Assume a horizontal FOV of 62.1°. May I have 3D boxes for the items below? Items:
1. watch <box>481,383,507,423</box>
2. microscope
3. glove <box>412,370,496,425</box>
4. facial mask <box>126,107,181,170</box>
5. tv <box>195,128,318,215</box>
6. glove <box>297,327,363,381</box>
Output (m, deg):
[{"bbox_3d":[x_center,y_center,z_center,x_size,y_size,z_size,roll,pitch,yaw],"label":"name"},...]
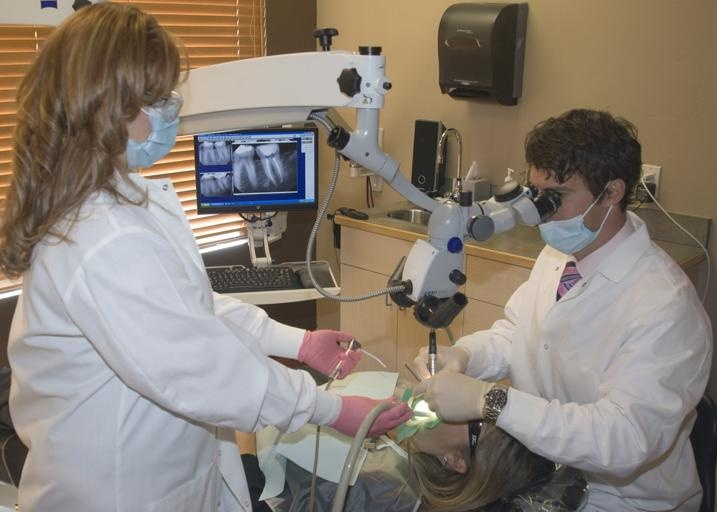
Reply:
[{"bbox_3d":[0.387,0.420,1.690,0.070,0.106,0.032,9,-22,36],"label":"watch"},{"bbox_3d":[0.185,-0.150,1.719,0.741,0.902,0.345,3,-5,-5],"label":"microscope"},{"bbox_3d":[0.288,0.414,1.721,0.194,0.120,0.068,5,15,10],"label":"glove"},{"bbox_3d":[-0.505,-0.289,1.486,0.103,0.161,0.094,21,27,41],"label":"facial mask"},{"bbox_3d":[-0.505,-0.431,2.991,0.623,0.436,0.233,-4,18,-21],"label":"tv"},{"bbox_3d":[-0.102,0.291,1.944,0.205,0.166,0.175,-10,19,-40],"label":"glove"}]
